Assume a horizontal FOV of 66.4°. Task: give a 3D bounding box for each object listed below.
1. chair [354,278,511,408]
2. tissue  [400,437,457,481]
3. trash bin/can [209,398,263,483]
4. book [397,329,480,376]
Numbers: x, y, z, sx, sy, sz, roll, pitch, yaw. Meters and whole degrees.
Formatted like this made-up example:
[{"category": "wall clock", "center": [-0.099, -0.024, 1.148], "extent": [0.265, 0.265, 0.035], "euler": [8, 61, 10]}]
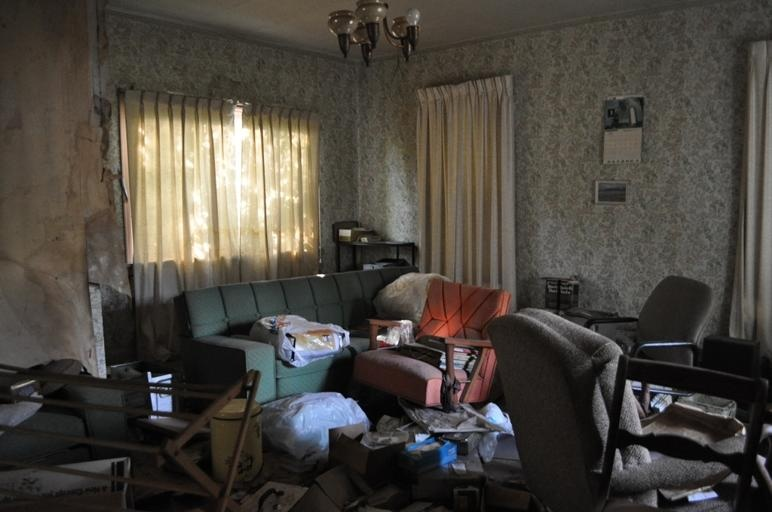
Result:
[{"category": "chair", "center": [0.319, 0.685, 4.379], "extent": [1.017, 0.878, 1.043], "euler": [5, 4, 15]}, {"category": "tissue ", "center": [0.242, 1.232, 3.578], "extent": [0.285, 0.101, 0.162], "euler": [-1, -2, -42]}, {"category": "trash bin/can", "center": [-0.907, 1.146, 3.685], "extent": [0.367, 0.387, 0.369], "euler": [6, -13, -42]}, {"category": "book", "center": [0.345, 0.704, 4.240], "extent": [0.337, 0.242, 0.580], "euler": [-3, 5, -35]}]
